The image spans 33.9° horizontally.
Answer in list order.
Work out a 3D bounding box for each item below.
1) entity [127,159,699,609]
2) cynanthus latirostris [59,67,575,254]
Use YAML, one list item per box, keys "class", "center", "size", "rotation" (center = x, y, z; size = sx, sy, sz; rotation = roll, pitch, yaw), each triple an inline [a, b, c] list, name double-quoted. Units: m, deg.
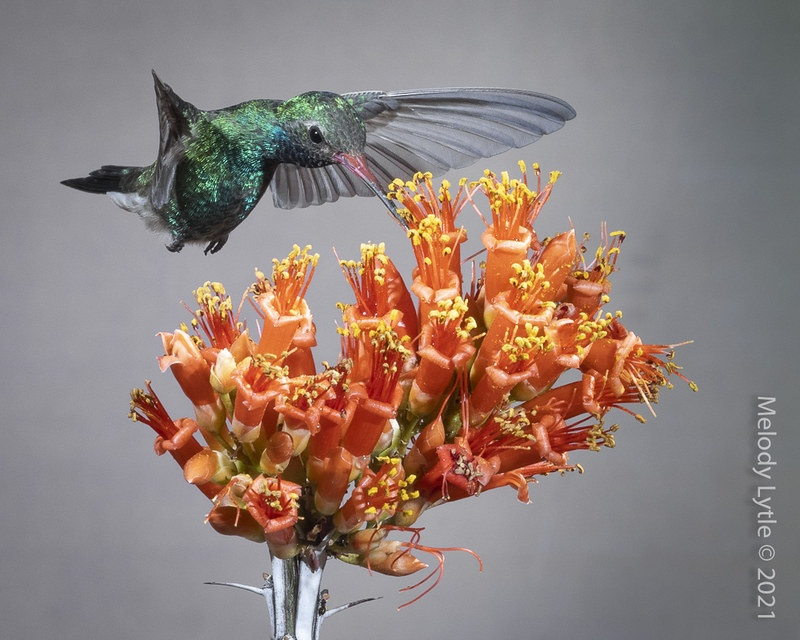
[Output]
- class: "entity"
  center: [0.060, 0.150, 2.713]
  size: [0.997, 0.777, 0.731]
  rotation: [-7, -91, 13]
- class: "cynanthus latirostris"
  center: [-0.179, -0.333, 3.000]
  size: [0.976, 1.047, 0.398]
  rotation: [4, -87, -23]
